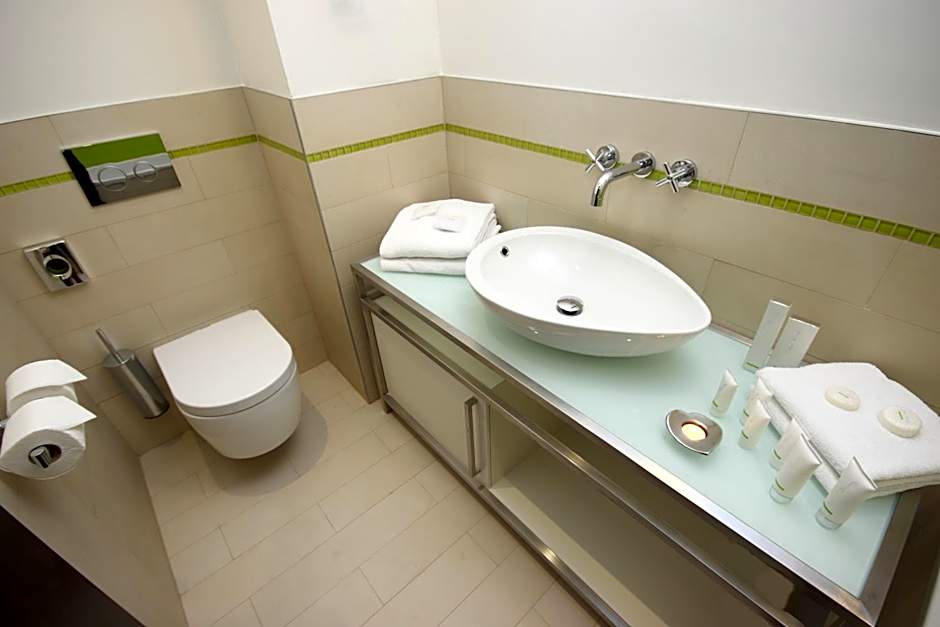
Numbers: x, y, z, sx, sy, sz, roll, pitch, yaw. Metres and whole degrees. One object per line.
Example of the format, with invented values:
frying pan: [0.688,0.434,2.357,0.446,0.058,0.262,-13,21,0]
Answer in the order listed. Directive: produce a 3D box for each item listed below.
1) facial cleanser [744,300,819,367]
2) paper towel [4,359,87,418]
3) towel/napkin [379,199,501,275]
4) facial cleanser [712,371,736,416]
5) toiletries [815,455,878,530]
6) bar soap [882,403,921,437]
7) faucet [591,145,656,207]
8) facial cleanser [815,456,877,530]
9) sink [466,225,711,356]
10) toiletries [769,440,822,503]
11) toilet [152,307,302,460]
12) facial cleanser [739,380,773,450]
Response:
facial cleanser: [0.937,0.092,1.722,0.073,0.229,0.143,-32,47,-34]
paper towel: [-1.351,0.237,1.791,0.225,0.106,0.219,-2,26,-16]
towel/napkin: [-0.108,-0.295,2.252,0.414,0.162,0.497,1,31,8]
facial cleanser: [0.755,0.241,1.691,0.053,0.128,0.068,20,42,25]
toiletries: [1.002,0.469,1.496,0.149,0.180,0.075,-27,44,-30]
bar soap: [1.162,0.288,1.549,0.075,0.029,0.076,29,51,31]
faucet: [0.478,-0.413,1.908,0.150,0.203,0.271,30,47,34]
facial cleanser: [0.992,0.472,1.494,0.123,0.106,0.162,21,35,25]
sink: [0.373,-0.060,1.940,0.826,0.225,0.503,17,41,21]
toiletries: [0.872,0.430,1.529,0.088,0.166,0.065,-29,45,-32]
toilet: [-1.003,0.313,2.452,0.466,0.326,0.543,-26,44,-29]
facial cleanser: [0.829,0.299,1.645,0.051,0.195,0.102,-3,36,-15]
